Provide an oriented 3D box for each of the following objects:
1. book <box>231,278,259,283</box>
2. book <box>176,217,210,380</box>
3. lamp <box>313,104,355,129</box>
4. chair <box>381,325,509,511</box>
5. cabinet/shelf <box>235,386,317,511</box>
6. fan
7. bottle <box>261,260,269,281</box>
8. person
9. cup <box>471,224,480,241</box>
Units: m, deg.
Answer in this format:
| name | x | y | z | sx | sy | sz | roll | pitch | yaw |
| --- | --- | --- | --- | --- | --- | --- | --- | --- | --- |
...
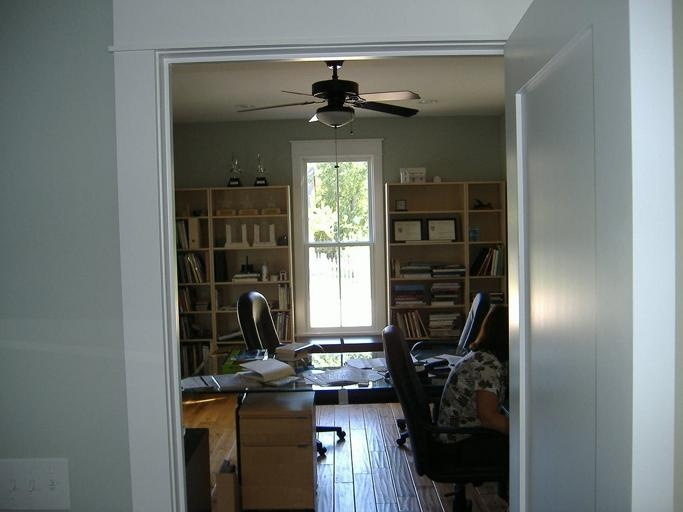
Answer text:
| name | x | y | z | sx | sy | sz | roll | pitch | yaw |
| --- | --- | --- | --- | --- | --- | --- | --- | --- | --- |
| book | -0.914 | 0.233 | 5.631 | 0.232 | 0.033 | 0.079 | -3 | 1 | -4 |
| book | -1.422 | 0.385 | 5.733 | 0.303 | 1.317 | 0.408 | -3 | 1 | -16 |
| lamp | -0.051 | -0.800 | 3.391 | 0.188 | 0.093 | 0.197 | 1 | 2 | 11 |
| chair | 0.402 | 0.685 | 2.936 | 0.606 | 1.148 | 0.624 | -8 | -1 | 8 |
| cabinet/shelf | -0.276 | 0.961 | 3.009 | 0.415 | 0.659 | 0.463 | -1 | 2 | 0 |
| fan | -0.112 | -1.204 | 4.372 | 0.736 | 0.325 | 0.762 | 6 | 10 | 41 |
| bottle | -0.738 | 0.152 | 5.725 | 0.073 | 0.143 | 0.145 | -2 | 1 | -7 |
| person | 0.586 | 0.663 | 2.638 | 0.313 | 0.856 | 0.412 | -2 | 1 | 14 |
| cup | 1.306 | -0.217 | 5.763 | 0.063 | 0.155 | 0.172 | -1 | 1 | 36 |
